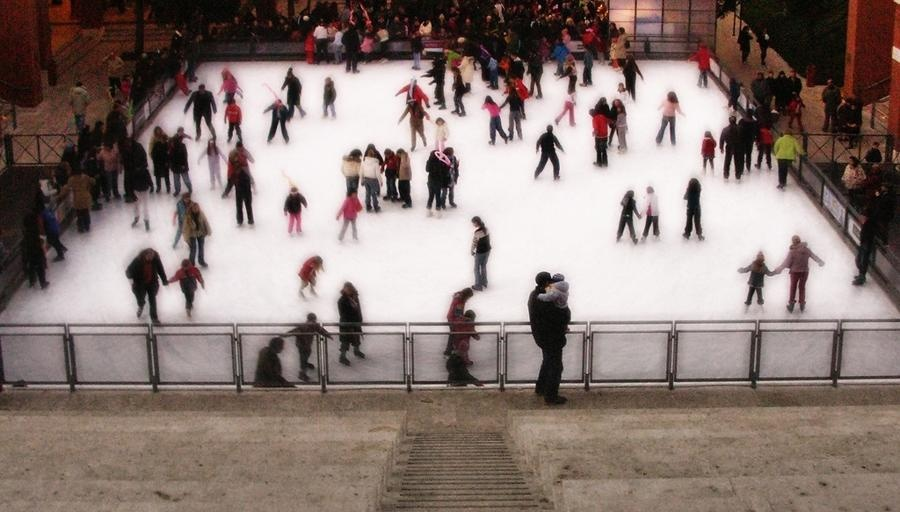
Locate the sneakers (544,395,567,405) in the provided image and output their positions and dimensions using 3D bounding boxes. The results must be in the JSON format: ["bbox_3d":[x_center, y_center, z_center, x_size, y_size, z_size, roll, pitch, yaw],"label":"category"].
[{"bbox_3d":[2.257,3.065,17.617,0.505,0.196,0.171,-6,29,-10],"label":"sneakers"}]

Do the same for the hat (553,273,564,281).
[{"bbox_3d":[2.309,0.451,17.739,0.157,0.117,0.112,-12,43,-7],"label":"hat"}]

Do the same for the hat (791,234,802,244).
[{"bbox_3d":[9.593,-0.461,23.080,0.256,0.349,0.247,1,41,11],"label":"hat"}]

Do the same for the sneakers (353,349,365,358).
[{"bbox_3d":[-1.975,2.158,18.335,0.336,0.208,0.104,8,42,9],"label":"sneakers"}]
